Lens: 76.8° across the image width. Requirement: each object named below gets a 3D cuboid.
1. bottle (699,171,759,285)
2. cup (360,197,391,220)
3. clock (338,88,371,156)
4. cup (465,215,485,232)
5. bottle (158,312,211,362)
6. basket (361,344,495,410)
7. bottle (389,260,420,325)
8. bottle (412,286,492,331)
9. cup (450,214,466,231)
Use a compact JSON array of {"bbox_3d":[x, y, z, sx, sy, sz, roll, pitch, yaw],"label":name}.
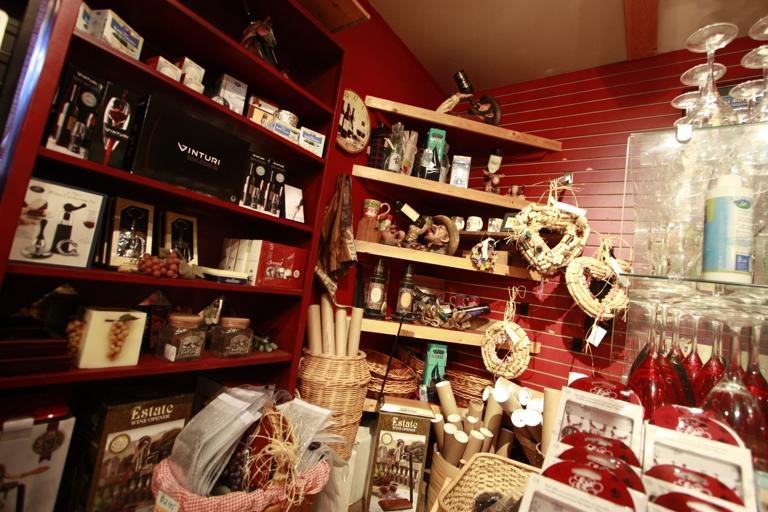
[{"bbox_3d":[1.258,-0.101,1.770,0.142,0.388,0.123,2,-5,36],"label":"bottle"},{"bbox_3d":[-0.051,-0.343,3.493,0.204,0.182,0.132,3,-7,12],"label":"cup"},{"bbox_3d":[-0.217,-0.968,3.496,0.022,0.526,0.530,-2,-1,31],"label":"clock"},{"bbox_3d":[0.678,-0.248,3.644,0.135,0.129,0.092,10,3,19],"label":"cup"},{"bbox_3d":[-1.043,0.417,2.511,0.203,0.280,0.242,7,-9,1],"label":"bottle"},{"bbox_3d":[0.300,0.860,3.622,0.905,0.350,0.820,5,-3,-2],"label":"basket"},{"bbox_3d":[0.158,0.249,3.434,0.119,0.403,0.247,3,-4,25],"label":"bottle"},{"bbox_3d":[0.475,0.406,3.628,0.430,0.165,0.345,-3,7,5],"label":"bottle"},{"bbox_3d":[0.562,-0.263,3.683,0.130,0.132,0.091,4,1,37],"label":"cup"}]
